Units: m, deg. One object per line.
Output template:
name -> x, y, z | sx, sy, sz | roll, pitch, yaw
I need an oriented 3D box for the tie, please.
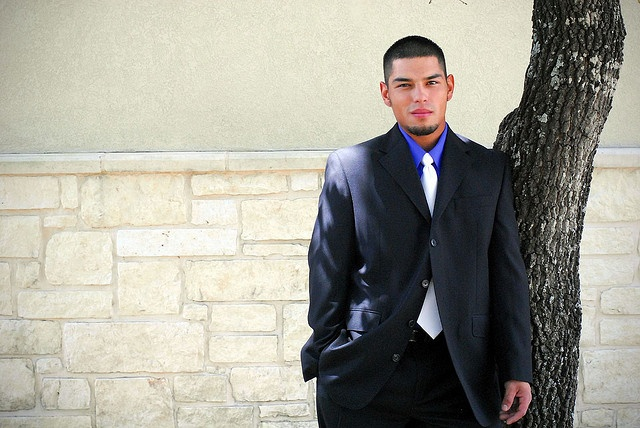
tie -> 0.735, 0.191, 6.921 | 0.158, 1.227, 0.103 | 1, -4, 11
